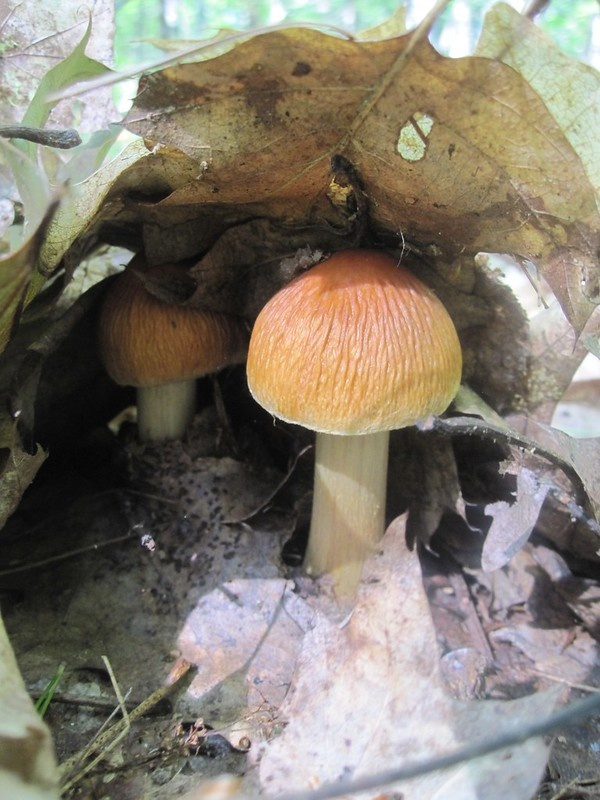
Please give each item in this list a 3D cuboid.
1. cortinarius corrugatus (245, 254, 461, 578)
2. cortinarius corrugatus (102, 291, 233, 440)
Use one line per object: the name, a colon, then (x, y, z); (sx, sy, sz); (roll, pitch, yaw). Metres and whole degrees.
cortinarius corrugatus: (0.104, 0.060, 1.599); (0.427, 0.688, 0.466); (2, 23, 2)
cortinarius corrugatus: (-0.339, -0.111, 1.802); (0.258, 0.388, 0.283); (34, 54, 26)
